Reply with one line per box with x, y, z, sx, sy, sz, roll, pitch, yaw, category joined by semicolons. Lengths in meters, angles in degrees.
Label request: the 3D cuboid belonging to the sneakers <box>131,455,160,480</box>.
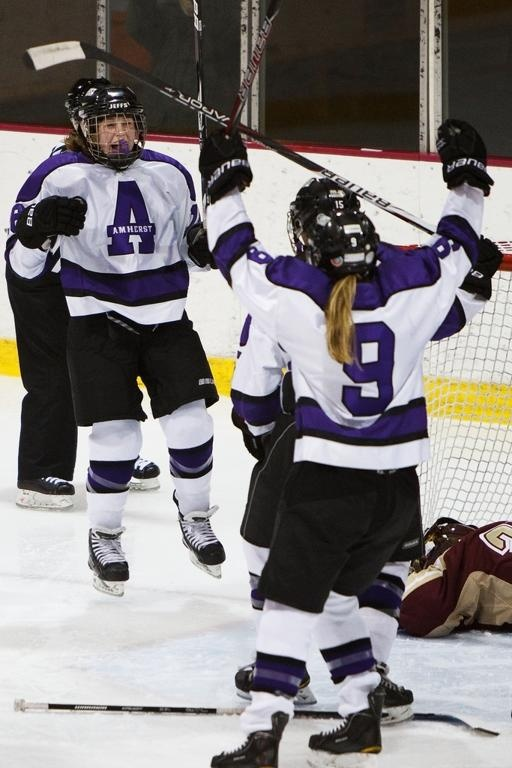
-0.521;0.404;3.967;0.140;0.072;0.222;-1;3;-19;sneakers

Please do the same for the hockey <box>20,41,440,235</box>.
-0.411;-0.871;2.442;0.415;0.115;2.335;-36;41;-17;hockey

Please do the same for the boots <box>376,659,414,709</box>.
0.280;0.642;1.795;0.050;0.053;0.138;5;-6;-35;boots

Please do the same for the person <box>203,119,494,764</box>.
0.183;0.064;1.564;0.556;1.139;0.379;2;0;-11;person

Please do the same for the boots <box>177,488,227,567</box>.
-0.136;0.456;2.625;0.101;0.164;0.242;-28;32;-2;boots

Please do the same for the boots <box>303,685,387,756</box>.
0.173;0.625;1.578;0.172;0.145;0.071;4;-5;2;boots

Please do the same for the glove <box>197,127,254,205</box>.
-0.044;-0.411;1.669;0.129;0.147;0.069;-19;-26;30;glove

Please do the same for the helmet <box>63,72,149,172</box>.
-0.418;-0.794;2.576;0.254;0.286;0.310;-19;40;-24;helmet

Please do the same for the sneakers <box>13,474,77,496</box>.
-0.921;0.438;3.690;0.225;0.081;0.093;-1;1;2;sneakers

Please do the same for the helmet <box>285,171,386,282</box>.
0.118;-0.272;1.542;0.176;0.182;0.208;-4;45;-8;helmet
